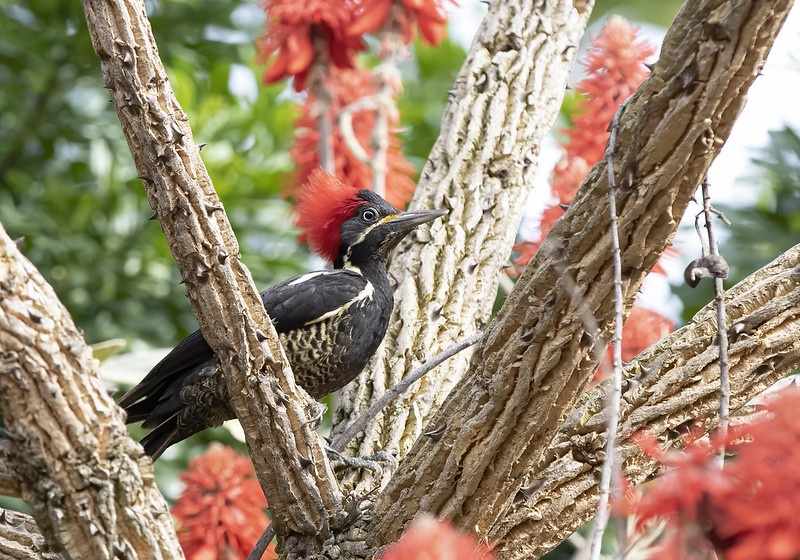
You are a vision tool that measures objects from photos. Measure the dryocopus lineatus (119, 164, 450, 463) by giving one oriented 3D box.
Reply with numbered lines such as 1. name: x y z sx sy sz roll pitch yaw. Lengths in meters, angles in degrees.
1. dryocopus lineatus: -0.484 0.153 5.421 1.249 1.007 0.456 -4 -10 9
